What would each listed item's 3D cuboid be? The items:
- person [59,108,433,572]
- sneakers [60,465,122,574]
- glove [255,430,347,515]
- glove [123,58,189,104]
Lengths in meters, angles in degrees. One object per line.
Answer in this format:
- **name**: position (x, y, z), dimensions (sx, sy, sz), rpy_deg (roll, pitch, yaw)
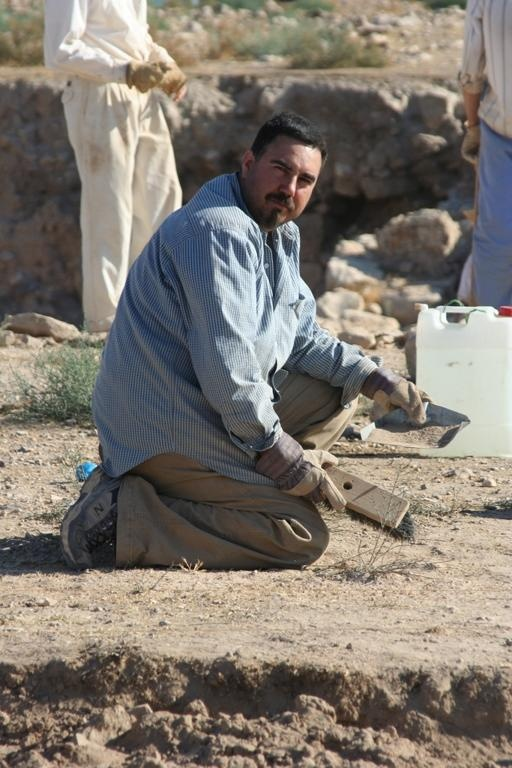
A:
- **person**: position (-0.092, -0.145, 3.296), dimensions (0.795, 1.259, 0.756), rpy_deg (2, 13, 9)
- **sneakers**: position (-0.441, 0.396, 3.191), dimensions (0.150, 0.317, 0.117), rpy_deg (8, -17, 35)
- **glove**: position (0.114, 0.246, 3.150), dimensions (0.282, 0.169, 0.120), rpy_deg (13, -39, -4)
- **glove**: position (-0.470, -1.448, 5.378), dimensions (0.254, 0.096, 0.240), rpy_deg (0, 1, -11)
